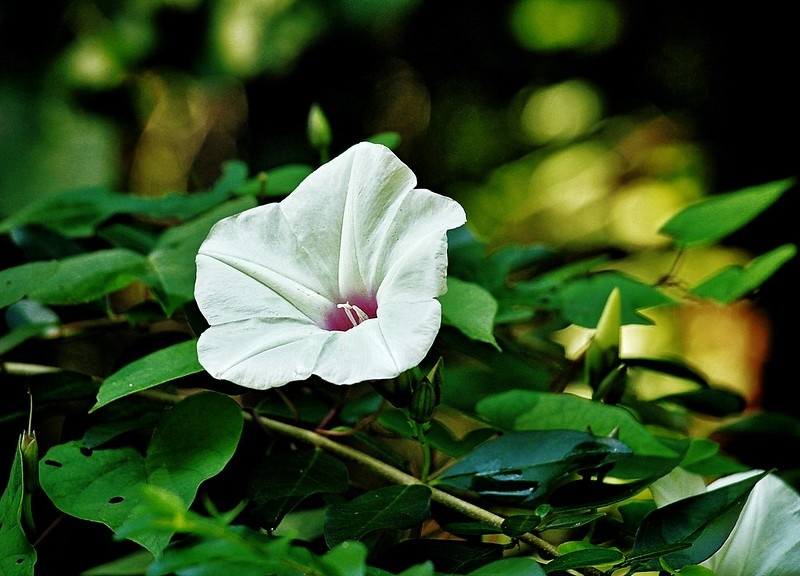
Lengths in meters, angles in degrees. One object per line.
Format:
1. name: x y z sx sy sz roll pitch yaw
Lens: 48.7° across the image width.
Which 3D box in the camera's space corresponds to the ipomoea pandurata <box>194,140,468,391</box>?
1. ipomoea pandurata: -0.152 -0.043 2.000 0.589 0.304 0.570 2 74 3
